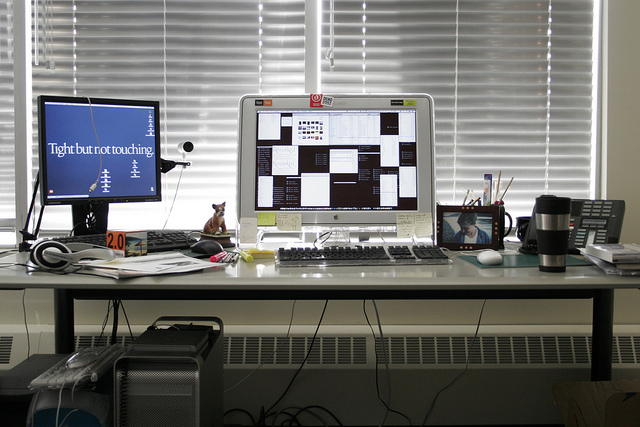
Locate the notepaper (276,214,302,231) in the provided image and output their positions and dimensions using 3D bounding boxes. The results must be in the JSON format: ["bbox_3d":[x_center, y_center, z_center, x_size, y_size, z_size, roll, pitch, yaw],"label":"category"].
[{"bbox_3d":[-0.155,0.045,2.809,0.102,0.061,0.013,1,-5,-2],"label":"notepaper"}]

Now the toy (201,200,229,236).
[{"bbox_3d":[-0.597,0.041,2.947,0.188,0.177,0.115,-10,-9,43],"label":"toy"}]

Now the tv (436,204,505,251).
[{"bbox_3d":[0.750,0.077,2.860,0.042,0.224,0.363,-2,1,-43],"label":"tv"}]

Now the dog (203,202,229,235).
[{"bbox_3d":[-0.543,0.035,2.986,0.098,0.150,0.173,-1,-2,-41],"label":"dog"}]

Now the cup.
[{"bbox_3d":[1.032,0.095,2.578,0.196,0.311,0.176,1,-3,-5],"label":"cup"}]

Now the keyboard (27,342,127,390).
[{"bbox_3d":[-1.112,0.704,2.616,0.386,0.081,0.356,-17,15,-9],"label":"keyboard"}]

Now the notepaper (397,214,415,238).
[{"bbox_3d":[0.426,0.060,2.821,0.137,0.147,0.017,1,-6,-2],"label":"notepaper"}]

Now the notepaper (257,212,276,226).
[{"bbox_3d":[-0.261,0.028,2.817,0.123,0.071,0.061,1,6,0],"label":"notepaper"}]
